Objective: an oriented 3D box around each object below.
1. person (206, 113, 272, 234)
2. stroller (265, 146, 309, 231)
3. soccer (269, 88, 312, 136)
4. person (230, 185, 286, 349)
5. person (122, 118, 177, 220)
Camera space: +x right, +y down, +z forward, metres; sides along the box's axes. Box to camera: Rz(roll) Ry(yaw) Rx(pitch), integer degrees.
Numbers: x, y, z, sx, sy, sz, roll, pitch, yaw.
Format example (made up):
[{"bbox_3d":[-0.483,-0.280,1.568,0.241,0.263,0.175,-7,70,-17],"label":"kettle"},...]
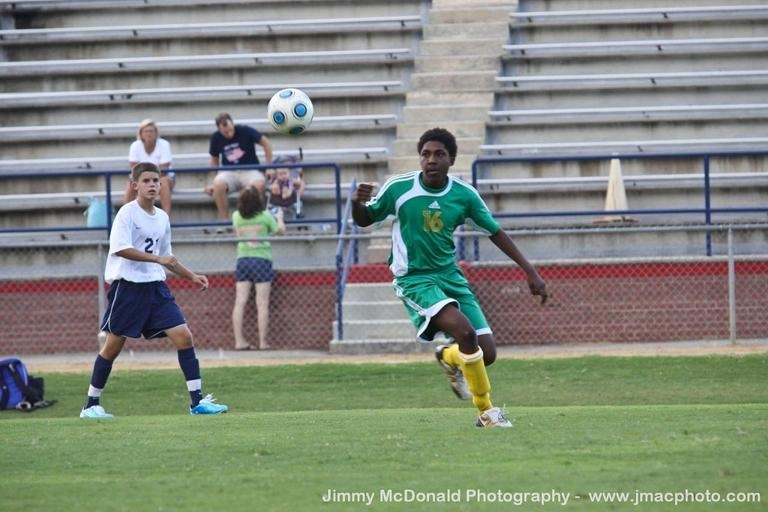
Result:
[{"bbox_3d":[-2.651,-1.421,33.481,1.127,1.926,0.895,-2,-8,-10],"label":"person"},{"bbox_3d":[-1.734,-1.184,33.257,0.594,1.392,0.624,-2,-21,5],"label":"stroller"},{"bbox_3d":[-1.547,-2.418,31.220,0.732,0.704,0.725,-1,20,24],"label":"soccer"},{"bbox_3d":[-2.229,0.226,32.341,0.845,2.822,0.801,-2,3,6],"label":"person"},{"bbox_3d":[-4.158,-1.571,33.113,0.725,1.781,0.735,-1,-19,3],"label":"person"}]
